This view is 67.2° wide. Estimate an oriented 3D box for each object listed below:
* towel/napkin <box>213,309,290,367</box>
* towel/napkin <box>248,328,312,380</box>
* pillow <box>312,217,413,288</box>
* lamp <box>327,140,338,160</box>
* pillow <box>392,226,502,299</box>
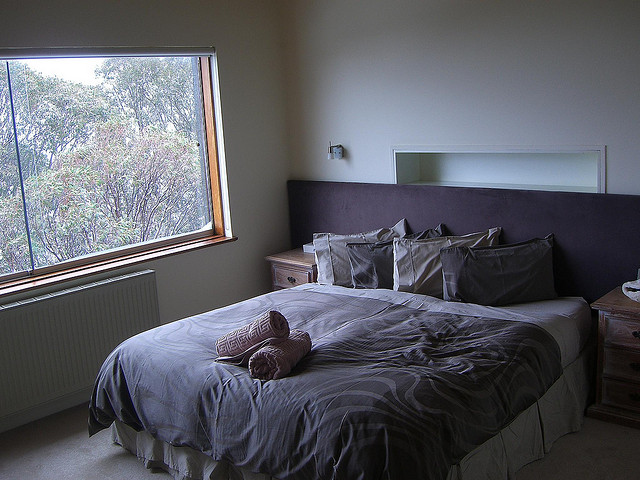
[{"bbox_3d":[-0.410,0.584,2.832,0.335,0.138,0.343,-18,-4,28],"label":"towel/napkin"},{"bbox_3d":[-0.286,0.652,2.871,0.258,0.208,0.536,7,1,-2],"label":"towel/napkin"},{"bbox_3d":[0.285,0.117,4.141,0.632,0.660,0.196,-3,-13,10],"label":"pillow"},{"bbox_3d":[0.118,-0.884,4.699,0.160,0.179,0.076,8,14,44],"label":"lamp"},{"bbox_3d":[0.979,0.191,3.666,0.535,0.395,0.178,0,-6,26],"label":"pillow"}]
